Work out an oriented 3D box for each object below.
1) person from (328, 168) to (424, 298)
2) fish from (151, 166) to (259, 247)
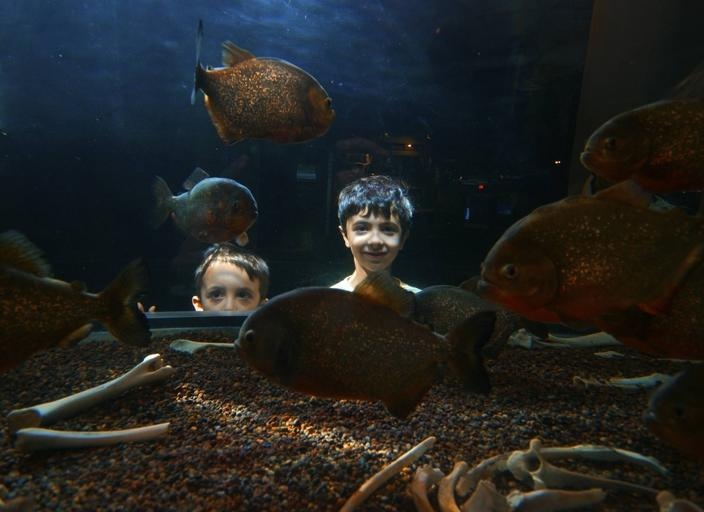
[{"bbox_3d":[0.152,-0.194,3.749,0.918,1.058,0.675,2,-4,-1],"label":"person"},{"bbox_3d":[-0.945,-0.355,3.451,0.708,0.502,0.412,10,15,14],"label":"fish"}]
